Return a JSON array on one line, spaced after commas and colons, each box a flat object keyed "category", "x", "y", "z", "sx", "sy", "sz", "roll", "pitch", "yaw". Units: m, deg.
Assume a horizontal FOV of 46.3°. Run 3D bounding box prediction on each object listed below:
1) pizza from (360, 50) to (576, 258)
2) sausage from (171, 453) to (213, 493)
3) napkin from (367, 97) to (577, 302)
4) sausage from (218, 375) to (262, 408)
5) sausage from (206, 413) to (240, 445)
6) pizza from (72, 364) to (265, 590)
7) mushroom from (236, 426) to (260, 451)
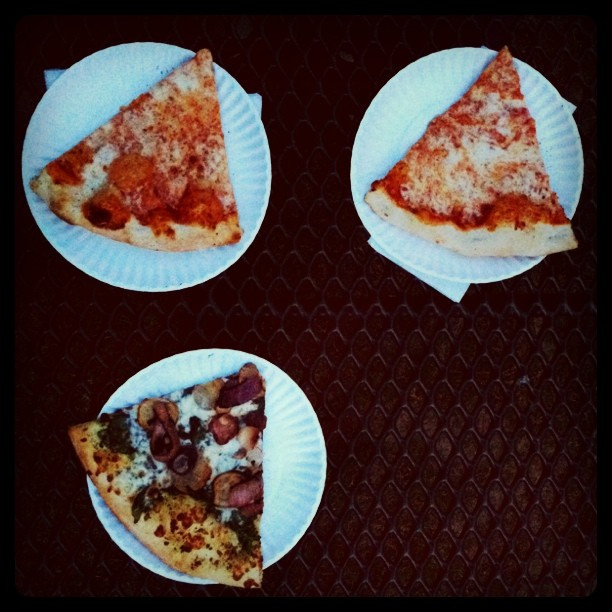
[{"category": "pizza", "x": 0.226, "y": -0.130, "z": 0.987, "sx": 0.279, "sy": 0.041, "sz": 0.287, "roll": -31, "pitch": 86, "yaw": -7}, {"category": "sausage", "x": -0.154, "y": 0.223, "z": 0.978, "sx": 0.036, "sy": 0.006, "sz": 0.057, "roll": -1, "pitch": 88, "yaw": 1}, {"category": "napkin", "x": 0.206, "y": -0.195, "z": 1.007, "sx": 0.218, "sy": 0.291, "sz": 0.301, "roll": -2, "pitch": 42, "yaw": 0}, {"category": "sausage", "x": -0.092, "y": 0.121, "z": 0.979, "sx": 0.056, "sy": 0.014, "sz": 0.035, "roll": -35, "pitch": 86, "yaw": 0}, {"category": "sausage", "x": -0.113, "y": 0.168, "z": 0.975, "sx": 0.041, "sy": 0.005, "sz": 0.040, "roll": 0, "pitch": 83, "yaw": -4}, {"category": "pizza", "x": -0.175, "y": 0.266, "z": 0.973, "sx": 0.275, "sy": 0.062, "sz": 0.292, "roll": -12, "pitch": 84, "yaw": -5}, {"category": "mushroom", "x": -0.079, "y": 0.180, "z": 0.976, "sx": 0.023, "sy": 0.011, "sz": 0.036, "roll": 15, "pitch": 82, "yaw": -2}]
